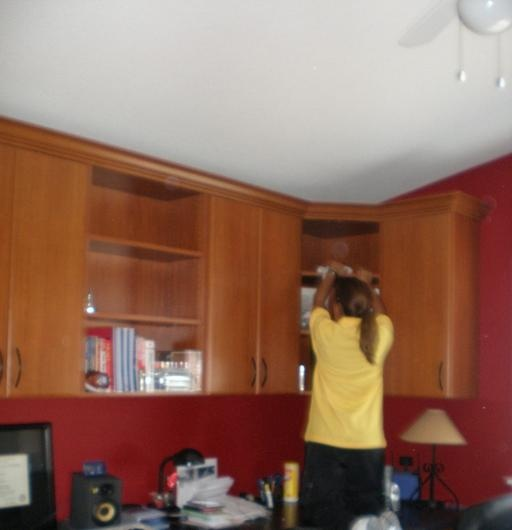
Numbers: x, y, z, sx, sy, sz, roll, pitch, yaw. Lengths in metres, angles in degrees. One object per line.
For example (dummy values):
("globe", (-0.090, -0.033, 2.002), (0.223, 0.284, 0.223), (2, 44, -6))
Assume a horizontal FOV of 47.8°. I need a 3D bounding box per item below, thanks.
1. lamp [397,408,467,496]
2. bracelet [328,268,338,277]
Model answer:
("lamp", (1.022, 1.087, 3.303), (0.351, 0.555, 0.347), (4, -3, -36))
("bracelet", (0.437, 0.041, 3.260), (0.040, 0.064, 0.042), (14, -51, -20))
